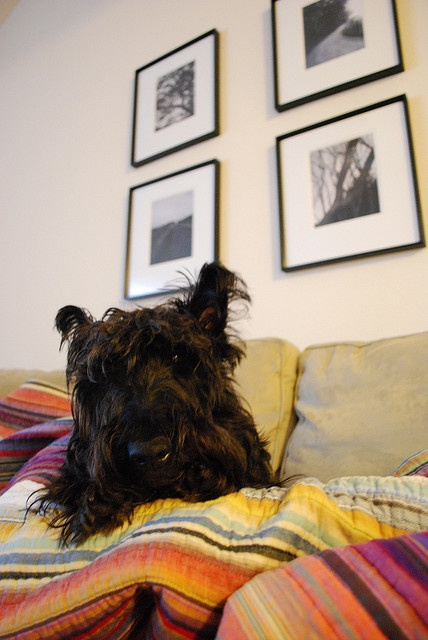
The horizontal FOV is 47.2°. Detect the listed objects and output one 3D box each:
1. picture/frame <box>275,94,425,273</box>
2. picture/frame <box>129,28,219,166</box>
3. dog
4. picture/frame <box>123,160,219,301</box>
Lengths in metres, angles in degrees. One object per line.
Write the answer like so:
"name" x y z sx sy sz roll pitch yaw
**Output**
"picture/frame" 0.544 -0.513 1.900 0.596 0.750 0.046 -16 -26 33
"picture/frame" -0.196 -1.155 2.583 0.748 0.786 0.072 -15 -21 43
"dog" -0.154 0.146 1.116 0.568 0.564 0.482 0 -8 7
"picture/frame" -0.194 -0.413 2.302 0.615 0.704 0.043 -15 -24 40
